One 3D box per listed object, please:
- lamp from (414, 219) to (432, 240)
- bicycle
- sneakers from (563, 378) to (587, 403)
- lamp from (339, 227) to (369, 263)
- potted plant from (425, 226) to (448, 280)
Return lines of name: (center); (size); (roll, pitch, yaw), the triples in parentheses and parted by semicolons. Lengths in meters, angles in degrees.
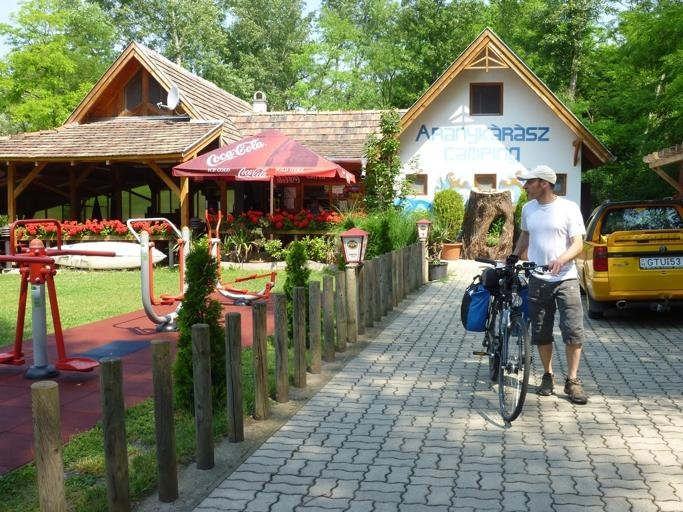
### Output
lamp: (1.891, -0.625, 16.192); (0.388, 0.598, 0.421); (0, 4, 24)
bicycle: (1.832, 0.844, 7.663); (0.688, 1.679, 1.550); (0, 4, 11)
sneakers: (2.606, 1.490, 7.766); (0.186, 0.263, 0.275); (-2, 4, -23)
lamp: (0.138, -0.165, 10.728); (0.524, 0.567, 0.522); (-6, -3, 42)
potted plant: (2.588, -0.206, 18.601); (0.683, 1.626, 0.752); (-5, 4, -17)
